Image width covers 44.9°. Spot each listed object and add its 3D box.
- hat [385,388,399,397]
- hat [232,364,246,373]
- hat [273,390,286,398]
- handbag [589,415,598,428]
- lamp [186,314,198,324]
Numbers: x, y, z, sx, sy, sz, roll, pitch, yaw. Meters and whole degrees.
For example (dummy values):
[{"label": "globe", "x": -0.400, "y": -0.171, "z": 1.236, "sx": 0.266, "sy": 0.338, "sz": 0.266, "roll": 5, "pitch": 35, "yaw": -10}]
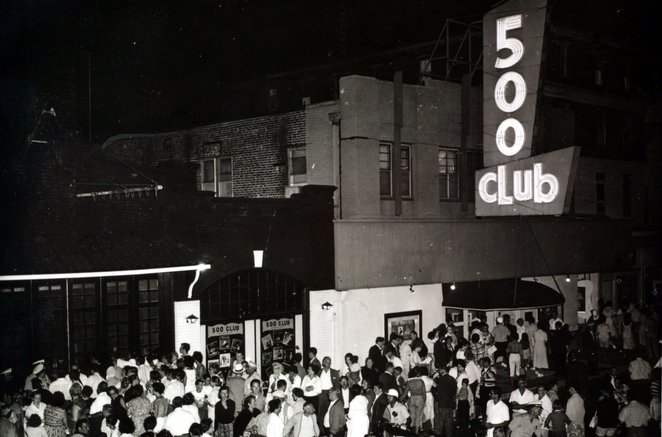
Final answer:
[{"label": "hat", "x": 2.288, "y": 6.493, "z": 29.966, "sx": 0.440, "sy": 0.321, "sz": 0.837, "roll": -2, "pitch": -10, "yaw": 4}, {"label": "hat", "x": -3.554, "y": 5.757, "z": 30.885, "sx": 0.549, "sy": 0.243, "sz": 0.612, "roll": -2, "pitch": -4, "yaw": -6}, {"label": "hat", "x": -1.951, "y": 6.323, "z": 28.985, "sx": 0.402, "sy": 0.284, "sz": 0.666, "roll": -3, "pitch": -10, "yaw": 11}, {"label": "handbag", "x": 10.040, "y": 7.727, "z": 30.569, "sx": 0.107, "sy": 0.445, "sz": 0.245, "roll": 16, "pitch": 10, "yaw": 0}, {"label": "lamp", "x": -5.982, "y": 4.257, "z": 34.125, "sx": 0.365, "sy": 0.283, "sz": 0.382, "roll": 6, "pitch": 13, "yaw": 25}]
